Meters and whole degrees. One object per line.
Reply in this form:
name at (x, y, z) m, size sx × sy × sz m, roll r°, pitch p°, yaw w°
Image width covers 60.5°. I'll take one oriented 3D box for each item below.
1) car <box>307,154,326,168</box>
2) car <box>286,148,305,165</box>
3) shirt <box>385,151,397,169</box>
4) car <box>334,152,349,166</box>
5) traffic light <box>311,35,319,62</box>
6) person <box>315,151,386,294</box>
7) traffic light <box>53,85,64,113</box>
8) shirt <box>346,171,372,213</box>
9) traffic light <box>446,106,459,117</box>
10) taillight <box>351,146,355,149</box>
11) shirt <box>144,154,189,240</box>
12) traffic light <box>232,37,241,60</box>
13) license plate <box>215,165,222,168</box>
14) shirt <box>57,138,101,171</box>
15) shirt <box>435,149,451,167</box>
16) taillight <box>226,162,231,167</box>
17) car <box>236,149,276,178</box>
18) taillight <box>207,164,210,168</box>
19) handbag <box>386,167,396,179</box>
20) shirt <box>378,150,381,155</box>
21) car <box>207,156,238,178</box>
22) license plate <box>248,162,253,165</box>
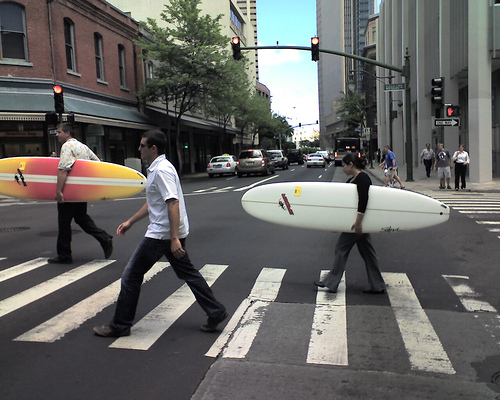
car at (7.715, -4.561, 50.210) m, size 1.628 × 1.327 × 3.856 m, roll 0°, pitch 8°, yaw 9°
car at (6.627, -6.293, 61.992) m, size 1.562 × 1.614 × 3.186 m, roll 0°, pitch 10°, yaw 13°
shirt at (6.095, -1.664, 18.319) m, size 0.490 × 0.918 × 0.860 m, roll -5°, pitch 2°, yaw 7°
car at (10.732, -4.944, 51.588) m, size 0.821 × 1.547 × 6.739 m, roll 0°, pitch 6°, yaw 13°
traffic light at (2.826, -6.578, 18.615) m, size 0.337 × 1.114 × 0.885 m, roll 0°, pitch 6°, yaw 8°
person at (1.386, 0.272, 5.767) m, size 0.861 × 1.813 × 0.763 m, roll 0°, pitch 6°, yaw 14°
traffic light at (-7.593, -4.011, 17.077) m, size 0.309 × 1.085 × 0.423 m, roll -4°, pitch 6°, yaw -29°
shirt at (1.483, -0.110, 5.710) m, size 0.282 × 0.520 × 0.447 m, roll -1°, pitch 6°, yaw 4°
traffic light at (8.820, -3.843, 18.575) m, size 0.619 × 0.401 × 0.229 m, roll -2°, pitch 6°, yaw -11°
taillight at (13.330, -6.779, 55.452) m, size 0.492 × 0.383 × 0.321 m, roll 0°, pitch 6°, yaw 14°
shirt at (-0.755, -0.049, 4.613) m, size 0.582 × 1.114 × 1.029 m, roll -1°, pitch 0°, yaw -6°
traffic light at (-0.585, -6.525, 18.436) m, size 0.319 × 0.912 × 1.109 m, roll -1°, pitch 6°, yaw -2°
license plate at (-2.531, -2.717, 34.572) m, size 0.492 × 0.196 × 0.096 m, roll 0°, pitch 6°, yaw 13°
shirt at (-3.085, -0.830, 7.510) m, size 0.280 × 0.499 × 0.973 m, roll 1°, pitch 10°, yaw -4°
shirt at (7.937, -1.701, 17.623) m, size 0.491 × 0.667 × 0.599 m, roll 2°, pitch 6°, yaw 25°
taillight at (-1.701, -2.804, 34.480) m, size 0.210 × 0.261 × 0.222 m, roll 0°, pitch 1°, yaw 43°
car at (0.579, -2.867, 33.017) m, size 1.541 × 1.538 × 3.062 m, roll -1°, pitch 9°, yaw 15°
taillight at (-3.403, -2.839, 35.279) m, size 0.336 × 0.194 × 0.611 m, roll -1°, pitch -8°, yaw -5°
handbag at (6.083, -1.146, 18.626) m, size 0.341 × 0.652 × 0.499 m, roll 18°, pitch 0°, yaw 20°
shirt at (13.723, -5.004, 45.365) m, size 0.274 × 0.463 × 1.225 m, roll 1°, pitch 6°, yaw 15°
car at (-1.927, -2.893, 35.824) m, size 1.262 × 1.041 × 3.008 m, roll 0°, pitch 7°, yaw 12°
license plate at (0.056, -2.711, 31.751) m, size 0.366 × 0.185 × 0.038 m, roll -1°, pitch 5°, yaw -5°
